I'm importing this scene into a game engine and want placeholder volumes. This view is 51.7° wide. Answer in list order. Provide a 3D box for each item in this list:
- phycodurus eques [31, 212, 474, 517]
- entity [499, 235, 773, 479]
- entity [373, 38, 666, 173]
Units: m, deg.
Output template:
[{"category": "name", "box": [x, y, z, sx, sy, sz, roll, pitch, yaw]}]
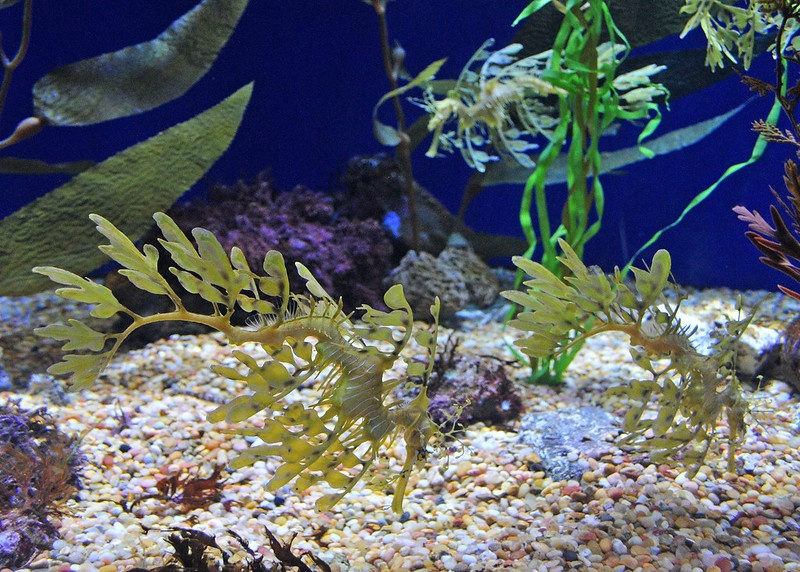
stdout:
[{"category": "phycodurus eques", "box": [-0.520, 0.534, 3.755, 1.520, 1.814, 1.052, 15, 38, 24]}, {"category": "entity", "box": [1.176, 0.259, 4.047, 1.293, 0.984, 0.436, 40, 20, -4]}, {"category": "entity", "box": [0.508, -0.848, 4.334, 1.254, 0.914, 1.097, -10, 17, -39]}]
